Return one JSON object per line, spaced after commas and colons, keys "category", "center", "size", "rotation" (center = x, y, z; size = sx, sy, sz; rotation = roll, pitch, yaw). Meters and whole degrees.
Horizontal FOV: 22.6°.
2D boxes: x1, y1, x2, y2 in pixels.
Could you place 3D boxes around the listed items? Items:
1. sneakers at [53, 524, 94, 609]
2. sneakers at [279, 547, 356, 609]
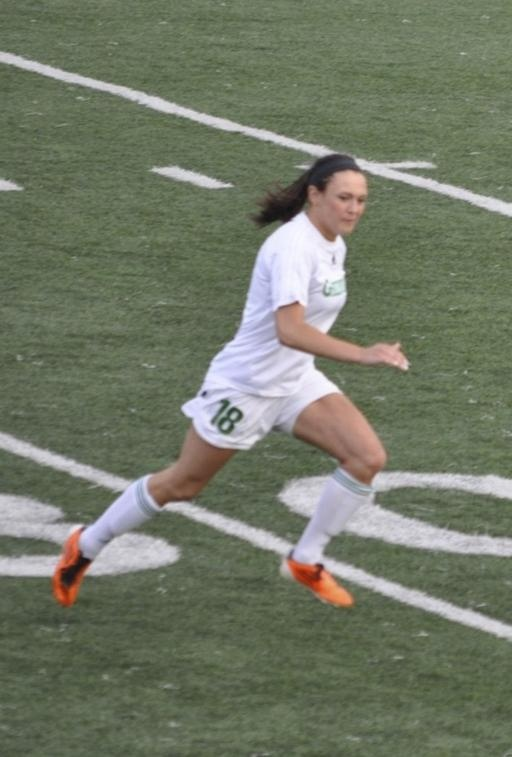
{"category": "sneakers", "center": [-0.651, 0.686, 4.615], "size": [0.111, 0.109, 0.313], "rotation": [31, 35, -3]}
{"category": "sneakers", "center": [0.171, 0.739, 4.619], "size": [0.355, 0.130, 0.110], "rotation": [25, 56, 6]}
